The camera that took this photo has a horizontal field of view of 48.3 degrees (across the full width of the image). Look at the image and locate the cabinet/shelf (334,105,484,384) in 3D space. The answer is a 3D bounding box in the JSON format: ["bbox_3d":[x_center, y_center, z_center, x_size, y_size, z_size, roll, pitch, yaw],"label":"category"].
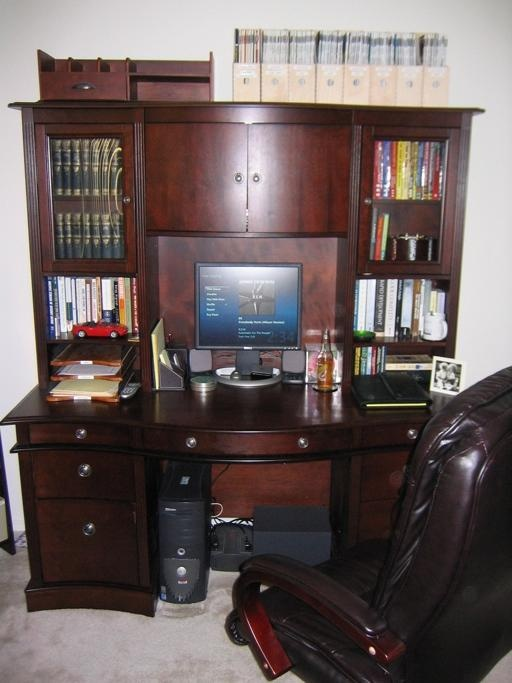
[{"bbox_3d":[0.593,-0.354,2.271,0.463,1.057,0.246,3,13,8],"label":"cabinet/shelf"}]

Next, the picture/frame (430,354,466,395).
[{"bbox_3d":[0.767,0.134,2.282,0.162,0.182,0.010,-2,7,42],"label":"picture/frame"}]

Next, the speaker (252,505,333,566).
[{"bbox_3d":[0.146,0.762,2.228,0.408,0.264,0.215,0,-3,0],"label":"speaker"}]

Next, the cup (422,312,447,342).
[{"bbox_3d":[0.730,-0.055,2.329,0.077,0.106,0.121,2,10,5],"label":"cup"}]

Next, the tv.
[{"bbox_3d":[-0.029,-0.081,2.453,0.469,0.496,0.278,0,11,-13],"label":"tv"}]

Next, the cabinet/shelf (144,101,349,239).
[{"bbox_3d":[-0.022,-0.649,2.233,0.794,0.431,0.250,1,15,1],"label":"cabinet/shelf"}]

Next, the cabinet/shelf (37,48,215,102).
[{"bbox_3d":[-0.474,-1.012,2.193,0.619,0.225,0.358,1,12,1],"label":"cabinet/shelf"}]
